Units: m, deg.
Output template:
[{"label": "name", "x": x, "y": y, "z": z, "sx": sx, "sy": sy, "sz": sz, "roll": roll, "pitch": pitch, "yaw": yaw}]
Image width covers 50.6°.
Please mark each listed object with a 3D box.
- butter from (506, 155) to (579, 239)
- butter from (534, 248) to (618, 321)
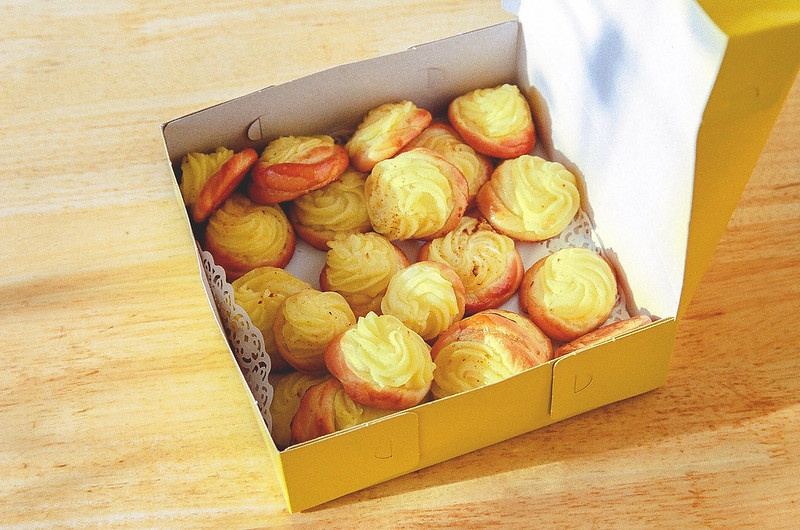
[{"label": "butter", "x": 0.307, "y": -0.149, "z": 1.812, "sx": 0.147, "sy": 0.060, "sz": 0.163, "roll": -6, "pitch": 77, "yaw": 4}, {"label": "butter", "x": 0.361, "y": 0.032, "z": 1.770, "sx": 0.193, "sy": 0.072, "sz": 0.206, "roll": 12, "pitch": 41, "yaw": -7}]
